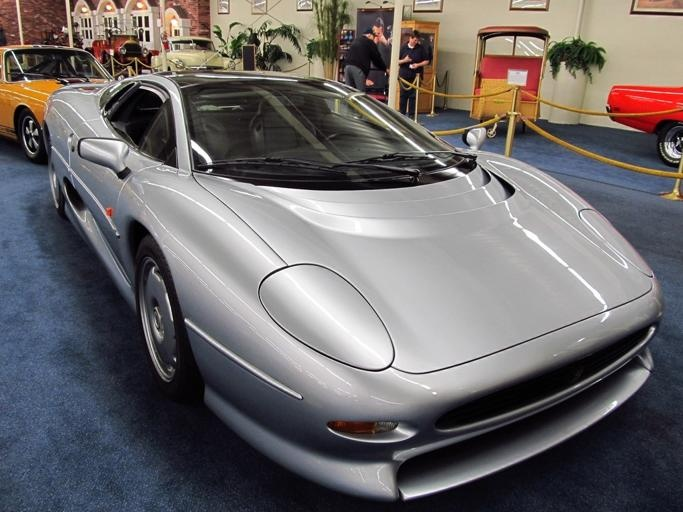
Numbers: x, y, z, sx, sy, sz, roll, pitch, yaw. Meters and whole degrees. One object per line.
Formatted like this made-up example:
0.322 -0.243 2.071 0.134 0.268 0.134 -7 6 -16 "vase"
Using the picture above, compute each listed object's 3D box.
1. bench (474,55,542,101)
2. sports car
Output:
3.896 -3.883 10.300 1.503 1.082 0.810 5 41 -2 "bench"
-0.451 -0.063 2.376 1.653 0.807 2.999 -11 33 -37 "sports car"
